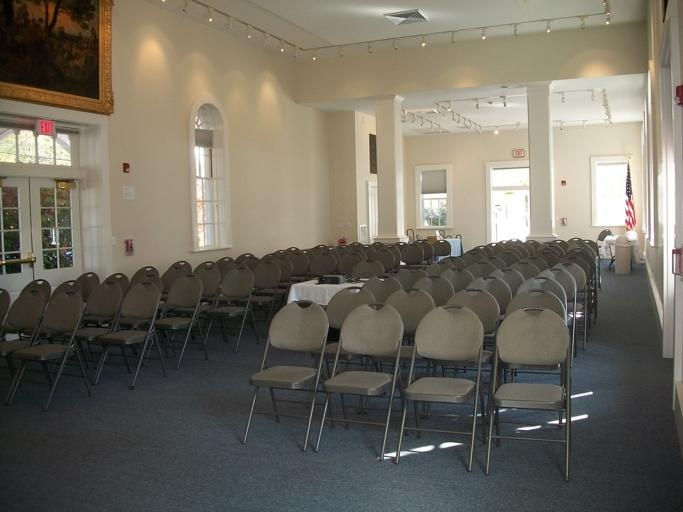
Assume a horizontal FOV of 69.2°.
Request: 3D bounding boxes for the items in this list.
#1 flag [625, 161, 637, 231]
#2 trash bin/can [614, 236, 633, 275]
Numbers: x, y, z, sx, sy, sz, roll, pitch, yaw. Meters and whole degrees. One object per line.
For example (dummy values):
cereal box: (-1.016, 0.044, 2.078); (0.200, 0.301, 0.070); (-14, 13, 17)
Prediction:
flag: (9.428, -1.913, 16.157); (0.326, 2.200, 2.177); (2, 6, 30)
trash bin/can: (7.832, -0.010, 13.780); (0.401, 0.938, 1.534); (1, 6, 29)
